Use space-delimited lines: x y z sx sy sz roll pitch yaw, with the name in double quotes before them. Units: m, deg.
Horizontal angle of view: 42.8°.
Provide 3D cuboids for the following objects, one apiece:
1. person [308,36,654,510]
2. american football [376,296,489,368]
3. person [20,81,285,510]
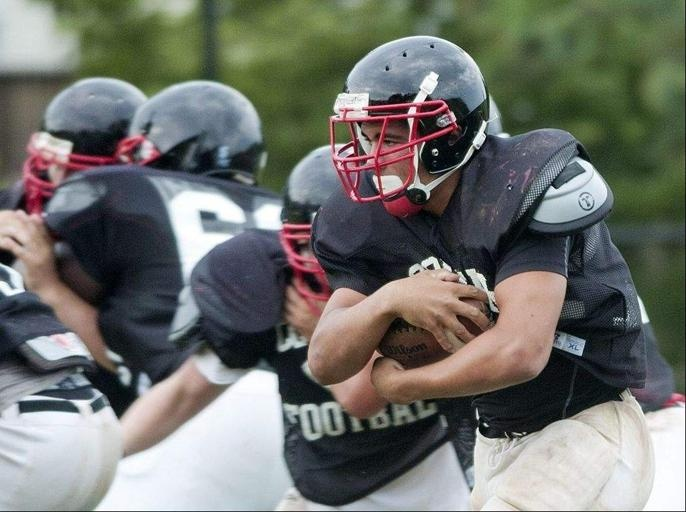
"person" 0.455 0.160 2.846 1.084 1.664 0.697 0 23 18
"american football" 0.263 0.217 2.793 0.303 0.162 0.219 -15 -13 -18
"person" -1.077 0.160 3.928 1.660 1.541 0.685 9 -10 -42
